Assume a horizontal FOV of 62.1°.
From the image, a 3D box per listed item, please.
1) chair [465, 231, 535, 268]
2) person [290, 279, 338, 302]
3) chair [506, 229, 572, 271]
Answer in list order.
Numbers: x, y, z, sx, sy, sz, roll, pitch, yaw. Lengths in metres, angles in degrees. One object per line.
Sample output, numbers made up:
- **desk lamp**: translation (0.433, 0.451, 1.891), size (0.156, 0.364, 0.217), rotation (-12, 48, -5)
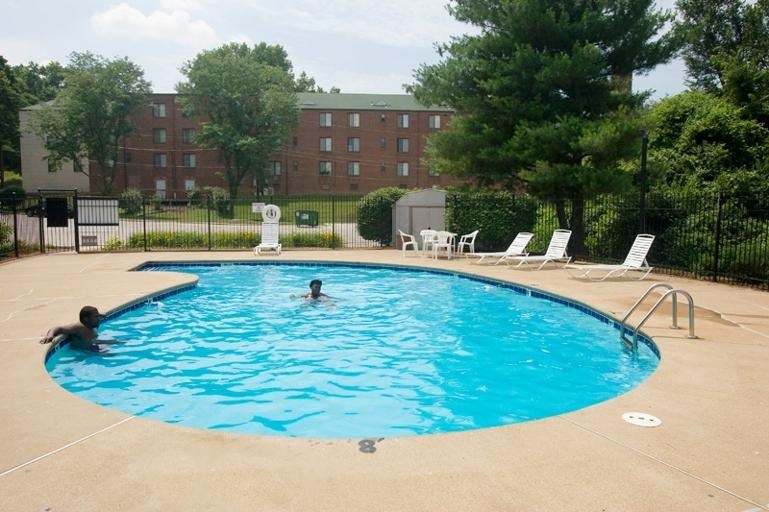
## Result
- **chair**: translation (4.519, -0.240, 22.789), size (2.370, 1.136, 1.227), rotation (-1, 1, -30)
- **person**: translation (-1.950, 1.037, 17.459), size (1.065, 0.462, 0.615), rotation (1, -9, -4)
- **chair**: translation (5.628, -0.231, 22.122), size (2.369, 1.561, 1.268), rotation (-1, 1, -18)
